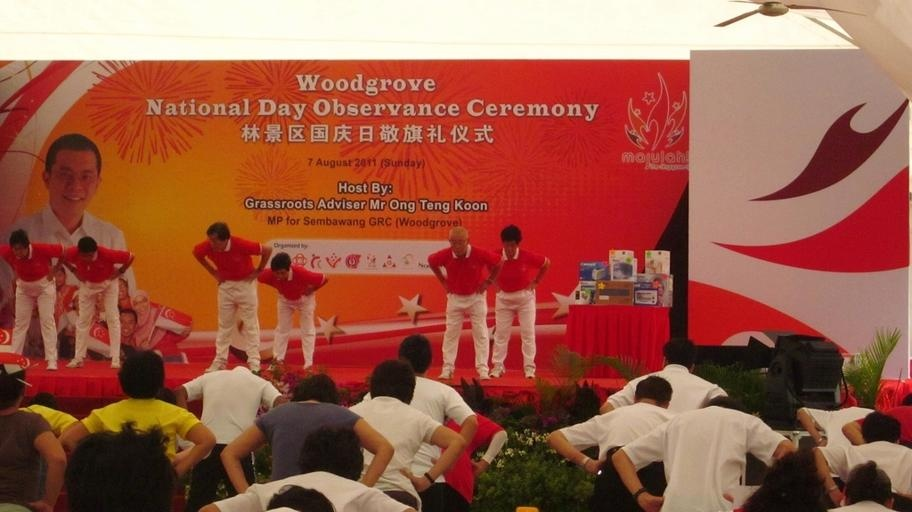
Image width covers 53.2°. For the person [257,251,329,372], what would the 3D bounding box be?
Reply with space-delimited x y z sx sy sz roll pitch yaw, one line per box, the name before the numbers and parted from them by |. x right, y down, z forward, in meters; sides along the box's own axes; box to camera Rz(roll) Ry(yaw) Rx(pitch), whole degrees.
person | -2.762 0.909 15.341 1.129 2.060 0.991 1 17 -1

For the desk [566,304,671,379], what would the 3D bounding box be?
desk | 2.651 1.300 15.331 1.834 1.269 1.084 -3 13 -8
